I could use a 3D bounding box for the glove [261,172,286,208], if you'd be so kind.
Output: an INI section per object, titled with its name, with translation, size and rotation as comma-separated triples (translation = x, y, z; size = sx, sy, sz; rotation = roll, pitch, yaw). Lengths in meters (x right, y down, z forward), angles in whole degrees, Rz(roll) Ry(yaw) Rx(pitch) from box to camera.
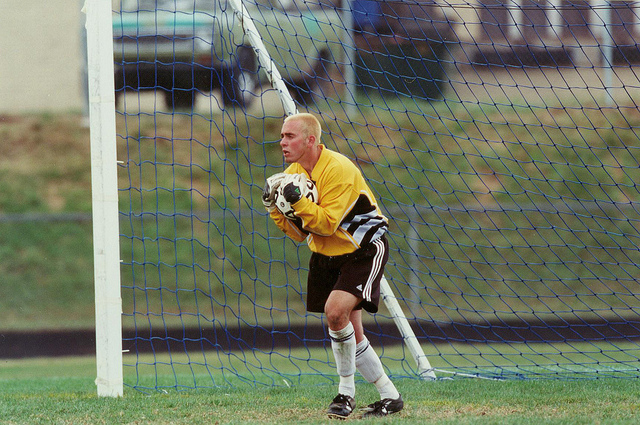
[glove]
translation = -0.774, -0.402, 22.574
size = 0.226, 0.502, 0.378
rotation = 25, -19, -5

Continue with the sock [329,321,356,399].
[sock]
translation = 0.412, 2.390, 22.558
size = 0.415, 1.232, 0.320
rotation = -5, -5, 0
